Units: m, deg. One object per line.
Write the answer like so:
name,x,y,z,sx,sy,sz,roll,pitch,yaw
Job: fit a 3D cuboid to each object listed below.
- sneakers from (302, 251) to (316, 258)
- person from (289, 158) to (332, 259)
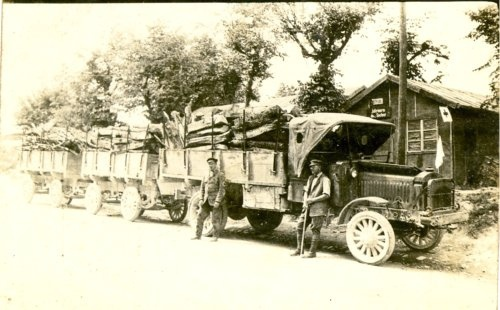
sneakers,1.730,2.948,13.332,0.345,0.147,0.186,1,-9,14
person,1.860,1.575,13.465,1.106,2.857,0.793,0,8,-10
